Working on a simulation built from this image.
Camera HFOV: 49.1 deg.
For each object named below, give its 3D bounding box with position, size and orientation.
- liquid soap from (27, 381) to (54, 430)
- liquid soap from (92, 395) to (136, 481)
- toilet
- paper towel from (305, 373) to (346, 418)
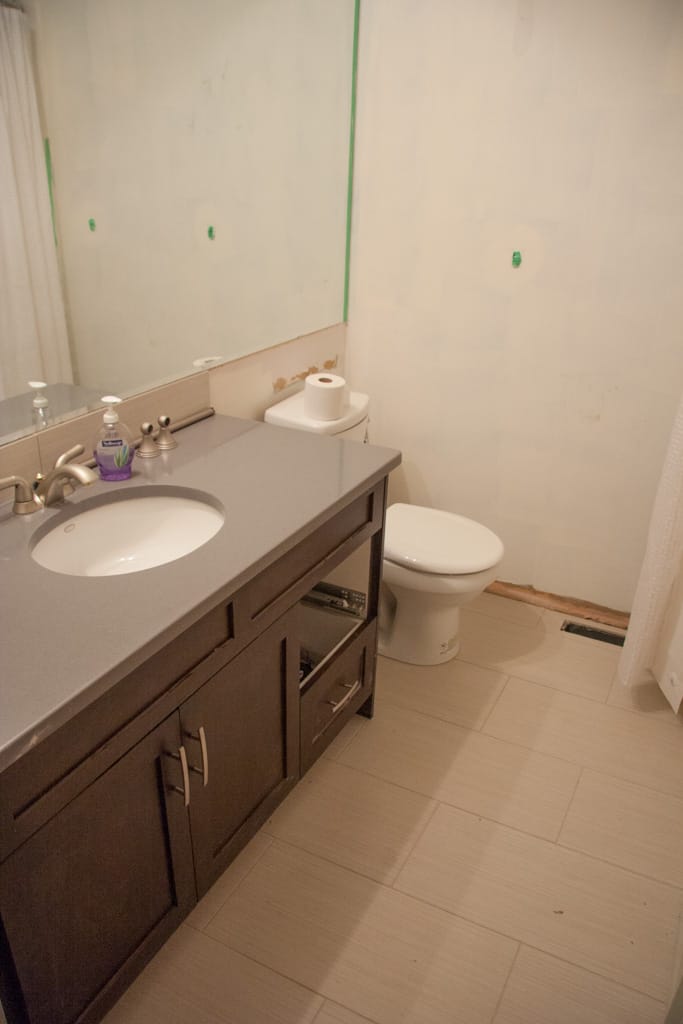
[{"bbox_3d":[-0.518,-0.187,1.287,0.032,0.092,0.043,8,30,8],"label":"liquid soap"},{"bbox_3d":[-0.411,-0.125,1.346,0.067,0.129,0.073,-9,25,-19],"label":"liquid soap"},{"bbox_3d":[0.163,0.065,2.133,0.609,0.671,0.327,19,36,30],"label":"toilet"},{"bbox_3d":[-0.043,-0.306,1.999,0.114,0.091,0.089,21,43,13],"label":"paper towel"}]
